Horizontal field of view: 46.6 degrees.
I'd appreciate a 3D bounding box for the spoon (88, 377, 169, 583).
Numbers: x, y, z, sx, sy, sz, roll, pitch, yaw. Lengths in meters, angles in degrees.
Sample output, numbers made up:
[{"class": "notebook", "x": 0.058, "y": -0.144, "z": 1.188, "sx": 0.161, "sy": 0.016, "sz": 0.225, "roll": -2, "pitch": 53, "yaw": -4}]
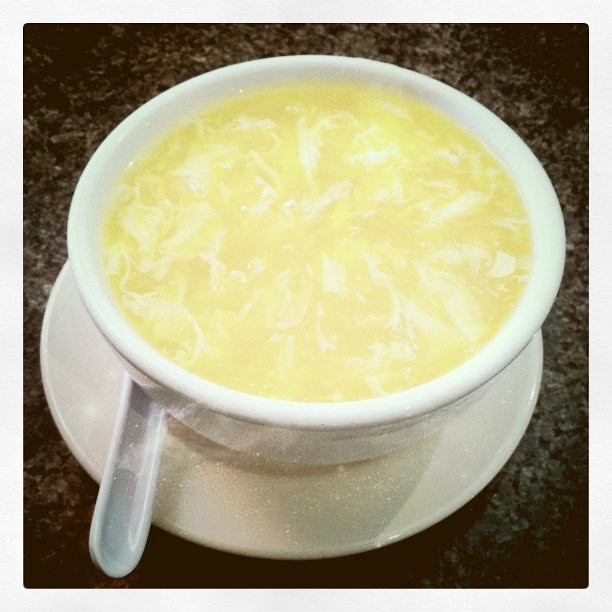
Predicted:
[{"class": "spoon", "x": -0.182, "y": 0.175, "z": 0.727, "sx": 0.071, "sy": 0.057, "sz": 0.244, "roll": -4, "pitch": 71, "yaw": -4}]
